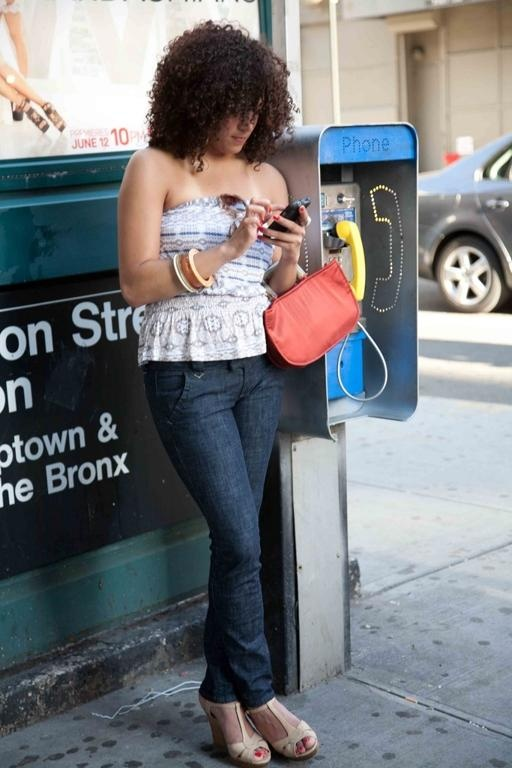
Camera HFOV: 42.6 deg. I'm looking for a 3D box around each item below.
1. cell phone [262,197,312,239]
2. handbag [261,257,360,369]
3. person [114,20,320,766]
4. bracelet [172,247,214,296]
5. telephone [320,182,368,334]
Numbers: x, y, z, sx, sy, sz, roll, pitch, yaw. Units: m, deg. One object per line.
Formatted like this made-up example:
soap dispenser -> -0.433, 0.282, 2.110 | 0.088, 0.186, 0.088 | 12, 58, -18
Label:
cell phone -> 0.056, -0.321, 1.277 | 0.095, 0.022, 0.054 | -37, -39, 19
handbag -> 0.115, -0.172, 1.473 | 0.093, 0.160, 0.273 | -4, 23, 43
person -> -0.053, 0.102, 1.470 | 0.468, 1.517, 0.522 | -6, 8, -39
bracelet -> -0.118, -0.200, 1.145 | 0.068, 0.076, 0.088 | -5, 16, -14
telephone -> 0.261, -0.355, 1.877 | 0.125, 0.394, 0.137 | -1, 21, 10
